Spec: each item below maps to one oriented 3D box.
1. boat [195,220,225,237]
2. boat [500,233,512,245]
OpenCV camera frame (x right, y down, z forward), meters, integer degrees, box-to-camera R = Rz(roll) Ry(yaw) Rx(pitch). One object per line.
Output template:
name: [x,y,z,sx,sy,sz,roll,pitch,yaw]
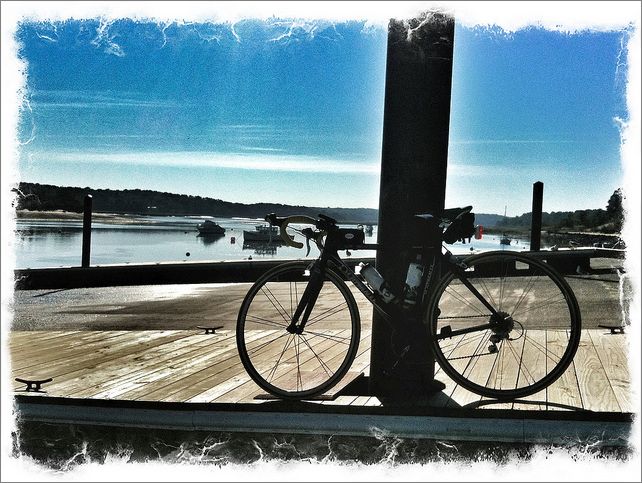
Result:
boat: [-11.949,-1.374,66.476,2.427,1.188,1.669,-1,8,-8]
boat: [5.024,-0.079,16.914,0.287,0.382,0.958,-3,-1,8]
